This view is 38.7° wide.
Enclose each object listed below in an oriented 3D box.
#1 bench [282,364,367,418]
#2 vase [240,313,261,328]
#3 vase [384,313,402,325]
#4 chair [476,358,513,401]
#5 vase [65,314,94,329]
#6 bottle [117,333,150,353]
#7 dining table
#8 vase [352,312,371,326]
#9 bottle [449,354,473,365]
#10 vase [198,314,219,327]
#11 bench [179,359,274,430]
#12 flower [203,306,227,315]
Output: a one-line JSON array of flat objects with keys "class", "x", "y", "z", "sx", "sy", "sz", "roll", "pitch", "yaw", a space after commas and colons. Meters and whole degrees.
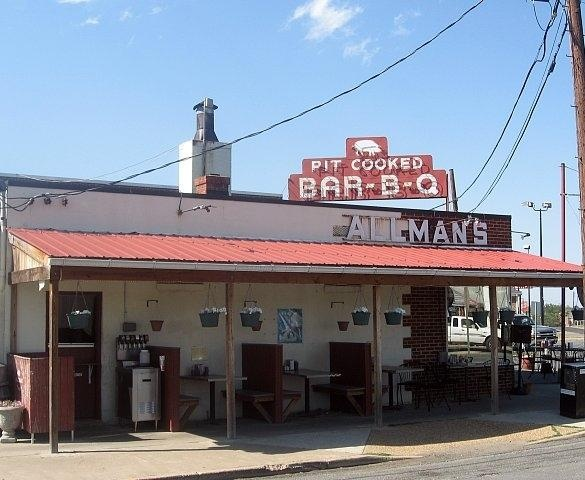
[{"class": "bench", "x": 0.684, "y": 3.318, "z": 18.850, "sx": 1.225, "sy": 0.737, "sz": 1.191, "roll": 1, "pitch": -3, "yaw": -34}, {"class": "vase", "x": -0.872, "y": 1.644, "z": 17.269, "sx": 0.309, "sy": 0.227, "sz": 0.350, "roll": 1, "pitch": -10, "yaw": -5}, {"class": "vase", "x": 2.257, "y": 1.745, "z": 18.700, "sx": 0.309, "sy": 0.216, "sz": 0.329, "roll": 0, "pitch": -10, "yaw": 3}, {"class": "chair", "x": 5.336, "y": 3.828, "z": 22.300, "sx": 1.436, "sy": 1.086, "sz": 0.775, "roll": 5, "pitch": -9, "yaw": -34}, {"class": "vase", "x": -4.071, "y": 1.551, "z": 15.832, "sx": 0.439, "sy": 0.253, "sz": 0.406, "roll": 3, "pitch": -9, "yaw": -15}, {"class": "bottle", "x": -3.338, "y": 2.154, "z": 17.498, "sx": 0.698, "sy": 0.372, "sz": 0.131, "roll": 7, "pitch": -15, "yaw": -30}, {"class": "dining table", "x": 3.129, "y": 3.587, "z": 20.634, "sx": 1.245, "sy": 1.240, "sz": 2.529, "roll": -11, "pitch": -17, "yaw": 37}, {"class": "vase", "x": 1.511, "y": 1.731, "z": 18.442, "sx": 0.369, "sy": 0.254, "sz": 0.361, "roll": -7, "pitch": -15, "yaw": 21}, {"class": "bottle", "x": 4.391, "y": 3.103, "z": 21.726, "sx": 0.787, "sy": 0.293, "sz": 0.078, "roll": 7, "pitch": -15, "yaw": -29}, {"class": "vase", "x": -1.672, "y": 1.610, "z": 16.752, "sx": 0.321, "sy": 0.230, "sz": 0.271, "roll": -2, "pitch": -4, "yaw": -4}, {"class": "bench", "x": -1.548, "y": 3.324, "z": 17.674, "sx": 1.513, "sy": 1.048, "sz": 1.476, "roll": 4, "pitch": -15, "yaw": -21}, {"class": "flower", "x": -1.597, "y": 1.469, "z": 16.957, "sx": 0.517, "sy": 0.204, "sz": 0.348, "roll": -2, "pitch": -2, "yaw": 2}]
